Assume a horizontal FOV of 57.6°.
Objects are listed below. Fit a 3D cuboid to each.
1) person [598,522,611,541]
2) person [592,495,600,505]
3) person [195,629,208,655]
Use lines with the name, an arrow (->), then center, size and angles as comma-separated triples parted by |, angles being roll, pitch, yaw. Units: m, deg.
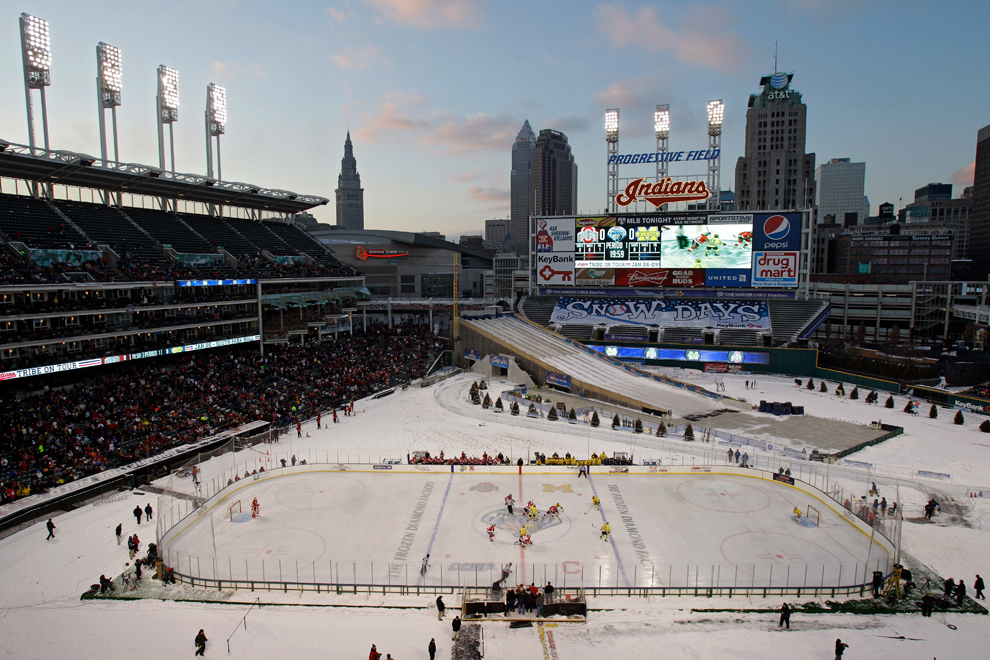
person -> 10.588, 19.158, 86.757 | 1.043, 1.445, 1.867 | 3, 10, 6
person -> 10.128, 17.167, 91.273 | 0.861, 0.640, 0.593 | 19, 8, 33
person -> -25.194, 26.501, 76.853 | 0.961, 2.166, 1.026 | 2, 11, -2
